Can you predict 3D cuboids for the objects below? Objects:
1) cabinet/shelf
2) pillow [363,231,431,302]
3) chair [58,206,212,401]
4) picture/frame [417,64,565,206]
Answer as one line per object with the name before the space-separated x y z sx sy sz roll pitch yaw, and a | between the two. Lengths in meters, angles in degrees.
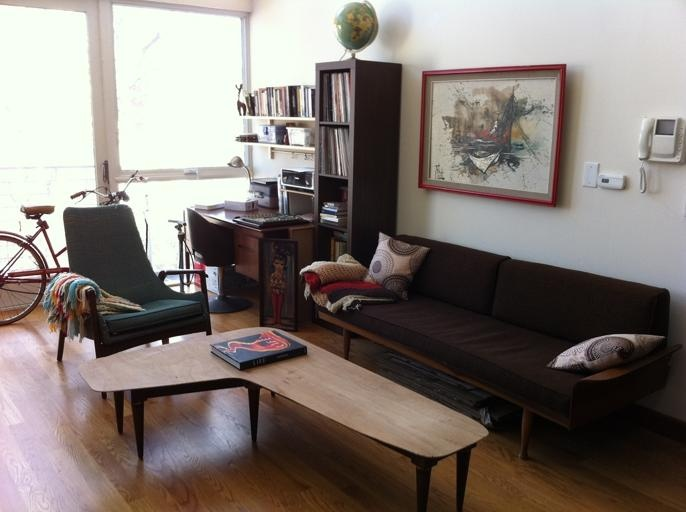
cabinet/shelf | -0.410 -0.519 4.951 0.832 2.468 2.757 -6 12 -38
pillow | 0.380 0.091 4.356 0.307 0.460 0.545 -1 13 -39
chair | -1.672 0.217 4.436 1.254 1.629 1.469 -8 11 -43
picture/frame | 1.148 -0.936 3.954 1.169 0.941 0.079 11 15 44
